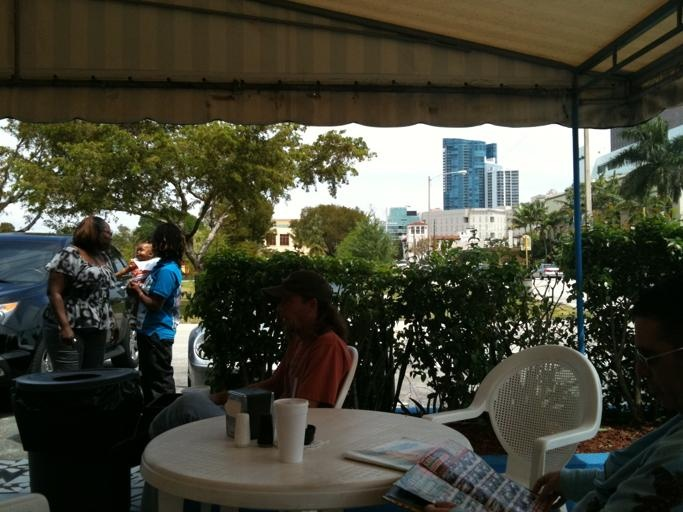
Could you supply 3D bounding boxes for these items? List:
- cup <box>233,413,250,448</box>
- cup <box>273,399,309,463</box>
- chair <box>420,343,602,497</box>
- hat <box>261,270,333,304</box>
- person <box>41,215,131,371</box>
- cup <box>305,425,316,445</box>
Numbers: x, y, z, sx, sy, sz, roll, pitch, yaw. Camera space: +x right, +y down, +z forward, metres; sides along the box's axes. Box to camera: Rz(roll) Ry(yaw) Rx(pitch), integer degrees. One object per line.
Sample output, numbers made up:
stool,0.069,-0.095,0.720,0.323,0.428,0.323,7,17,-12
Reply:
cup,-0.564,0.990,3.805,0.128,0.244,0.137,1,-5,0
cup,-0.237,0.967,3.763,0.237,0.425,0.268,-1,-3,4
chair,1.337,1.124,5.068,0.999,1.554,0.994,4,-1,-41
hat,-0.283,0.261,4.758,0.321,0.202,0.250,3,-10,-5
person,-2.537,0.356,6.490,0.622,1.500,0.449,4,0,-25
cup,-0.179,1.029,3.826,0.065,0.072,0.082,0,-1,-2
